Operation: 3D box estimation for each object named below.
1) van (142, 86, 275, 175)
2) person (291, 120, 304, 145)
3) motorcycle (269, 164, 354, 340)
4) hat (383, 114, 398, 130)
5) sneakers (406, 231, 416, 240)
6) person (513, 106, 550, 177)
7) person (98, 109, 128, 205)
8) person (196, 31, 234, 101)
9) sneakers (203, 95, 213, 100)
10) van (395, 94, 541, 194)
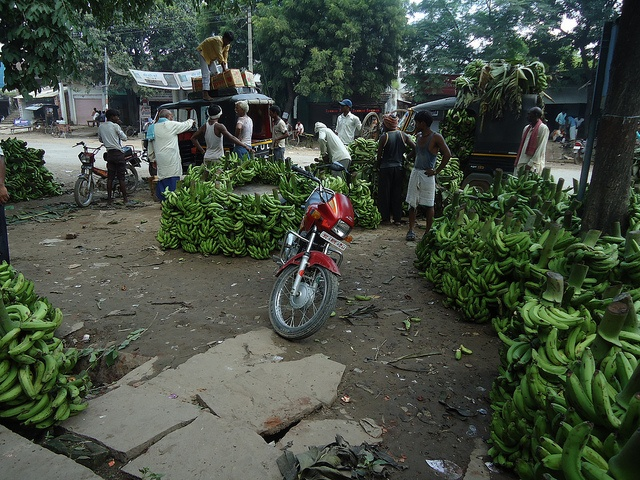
[{"bbox_3d":[-2.974,-2.828,10.816,3.107,2.360,2.358,8,27,7],"label":"van"},{"bbox_3d":[-1.352,-6.867,25.403,0.802,1.096,1.776,0,26,2],"label":"person"},{"bbox_3d":[-0.096,0.106,4.186,0.852,1.746,1.261,2,14,4],"label":"motorcycle"},{"bbox_3d":[1.246,-2.130,7.289,0.252,0.264,0.249,7,0,-41],"label":"hat"},{"bbox_3d":[1.580,-0.072,6.946,0.153,0.161,0.401,0,2,9],"label":"sneakers"},{"bbox_3d":[3.864,-1.780,7.245,0.476,1.242,1.095,8,15,26],"label":"person"},{"bbox_3d":[-4.852,-1.921,9.408,0.628,2.165,0.574,12,17,37],"label":"person"},{"bbox_3d":[-2.784,-4.519,10.501,0.854,1.719,1.306,-8,17,-33],"label":"person"},{"bbox_3d":[-2.915,-3.686,10.391,0.223,0.156,0.457,-4,15,-21],"label":"sneakers"},{"bbox_3d":[3.312,-2.241,8.746,2.260,1.722,1.755,10,38,18],"label":"van"}]
